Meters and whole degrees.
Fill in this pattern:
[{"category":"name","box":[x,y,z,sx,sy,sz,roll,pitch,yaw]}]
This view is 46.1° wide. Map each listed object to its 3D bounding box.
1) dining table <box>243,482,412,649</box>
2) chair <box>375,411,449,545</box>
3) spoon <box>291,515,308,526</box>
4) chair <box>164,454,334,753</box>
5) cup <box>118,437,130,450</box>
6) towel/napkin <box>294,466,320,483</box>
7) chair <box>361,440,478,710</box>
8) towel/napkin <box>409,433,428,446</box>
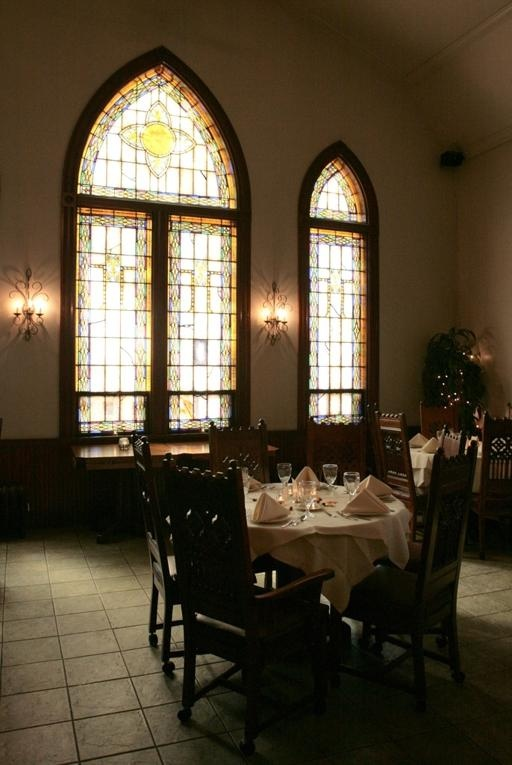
[{"category":"dining table","box":[0.286,0.841,2.797,0.786,0.333,0.946,-3,-14,2]},{"category":"chair","box":[1.317,0.732,4.747,0.616,0.965,0.604,-2,-2,-30]},{"category":"spoon","box":[0.181,0.587,2.589,0.024,0.021,0.175,-13,1,14]},{"category":"chair","box":[-0.035,0.765,2.237,0.540,1.008,0.610,-3,3,-7]},{"category":"cup","box":[-1.191,0.550,5.371,0.095,0.101,0.102,-1,-3,0]},{"category":"towel/napkin","box":[0.276,0.510,3.278,0.126,0.092,0.106,1,-9,-10]},{"category":"chair","box":[0.735,0.760,2.503,0.352,0.767,0.370,-13,-14,-14]},{"category":"towel/napkin","box":[1.525,0.546,5.627,0.130,0.079,0.173,0,0,30]}]
